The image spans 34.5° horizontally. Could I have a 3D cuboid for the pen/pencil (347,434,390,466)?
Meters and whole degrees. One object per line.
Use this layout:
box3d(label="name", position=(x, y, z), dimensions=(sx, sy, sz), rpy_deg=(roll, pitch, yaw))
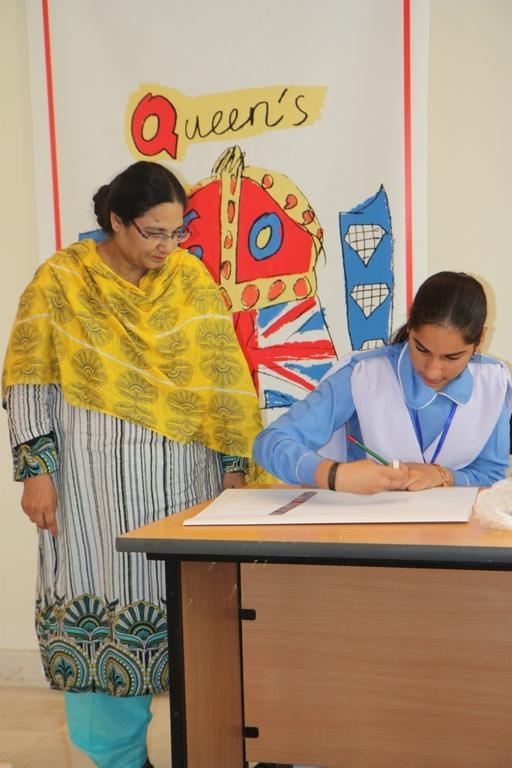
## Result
box3d(label="pen/pencil", position=(0.220, 0.126, 1.587), dimensions=(0.010, 0.097, 0.009), rpy_deg=(-41, 24, 36))

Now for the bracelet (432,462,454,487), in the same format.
box3d(label="bracelet", position=(0.345, 0.167, 1.511), dimensions=(0.033, 0.017, 0.039), rpy_deg=(10, 11, 0))

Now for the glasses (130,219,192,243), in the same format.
box3d(label="glasses", position=(-0.214, -0.331, 1.782), dimensions=(0.081, 0.021, 0.075), rpy_deg=(-12, 27, -35))

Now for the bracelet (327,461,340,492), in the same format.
box3d(label="bracelet", position=(0.123, 0.148, 1.333), dimensions=(0.016, 0.035, 0.029), rpy_deg=(4, -3, 5))
